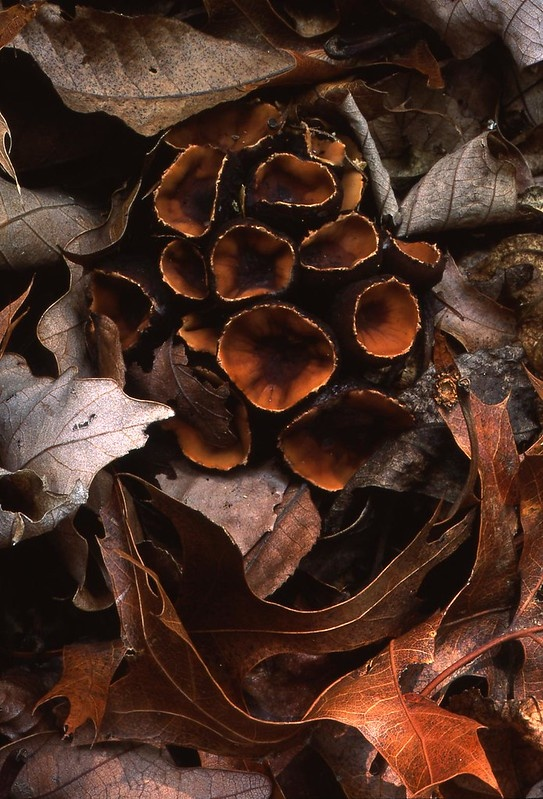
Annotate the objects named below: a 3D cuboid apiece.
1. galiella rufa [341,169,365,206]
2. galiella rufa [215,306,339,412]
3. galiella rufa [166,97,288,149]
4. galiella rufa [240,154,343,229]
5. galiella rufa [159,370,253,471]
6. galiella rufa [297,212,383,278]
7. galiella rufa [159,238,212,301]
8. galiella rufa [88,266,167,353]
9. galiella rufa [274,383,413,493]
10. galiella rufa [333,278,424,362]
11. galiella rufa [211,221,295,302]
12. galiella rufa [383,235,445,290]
[{"bbox_3d":[0.179,-0.469,1.858,0.056,0.018,0.081,6,86,19],"label":"galiella rufa"},{"bbox_3d":[0.011,-0.095,1.806,0.219,0.217,0.162,24,51,30],"label":"galiella rufa"},{"bbox_3d":[-0.104,-0.607,1.866,0.201,0.044,0.144,-5,38,0],"label":"galiella rufa"},{"bbox_3d":[0.043,-0.451,1.783,0.205,0.079,0.141,-4,81,1],"label":"galiella rufa"},{"bbox_3d":[-0.137,0.025,1.890,0.185,0.231,0.059,-28,11,29],"label":"galiella rufa"},{"bbox_3d":[0.145,-0.335,1.811,0.174,0.096,0.114,-3,42,4],"label":"galiella rufa"},{"bbox_3d":[-0.195,-0.280,1.822,0.095,0.111,0.096,-13,42,-6],"label":"galiella rufa"},{"bbox_3d":[-0.303,-0.215,1.892,0.159,0.188,0.099,-27,11,15],"label":"galiella rufa"},{"bbox_3d":[0.157,0.073,1.841,0.262,0.218,0.142,-26,46,-20],"label":"galiella rufa"},{"bbox_3d":[0.232,-0.174,1.836,0.181,0.190,0.194,-22,8,0],"label":"galiella rufa"},{"bbox_3d":[-0.041,-0.297,1.784,0.182,0.136,0.119,-6,42,2],"label":"galiella rufa"},{"bbox_3d":[0.326,-0.312,1.880,0.118,0.124,0.106,14,46,22],"label":"galiella rufa"}]
